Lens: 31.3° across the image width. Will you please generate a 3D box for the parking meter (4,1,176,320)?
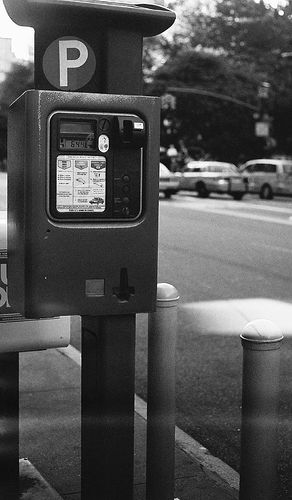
[{"bbox_3d":[-0.129,-0.205,1.359,0.440,0.852,0.284,-3,7,-18],"label":"parking meter"}]
